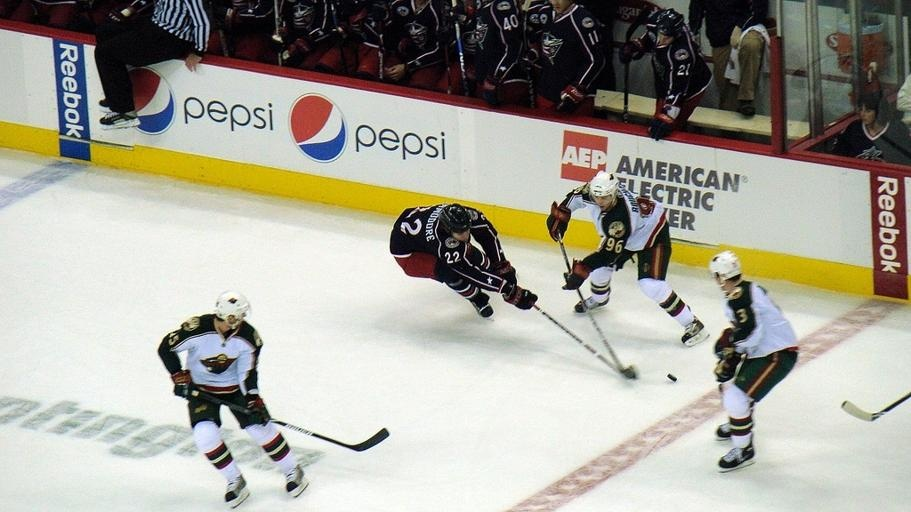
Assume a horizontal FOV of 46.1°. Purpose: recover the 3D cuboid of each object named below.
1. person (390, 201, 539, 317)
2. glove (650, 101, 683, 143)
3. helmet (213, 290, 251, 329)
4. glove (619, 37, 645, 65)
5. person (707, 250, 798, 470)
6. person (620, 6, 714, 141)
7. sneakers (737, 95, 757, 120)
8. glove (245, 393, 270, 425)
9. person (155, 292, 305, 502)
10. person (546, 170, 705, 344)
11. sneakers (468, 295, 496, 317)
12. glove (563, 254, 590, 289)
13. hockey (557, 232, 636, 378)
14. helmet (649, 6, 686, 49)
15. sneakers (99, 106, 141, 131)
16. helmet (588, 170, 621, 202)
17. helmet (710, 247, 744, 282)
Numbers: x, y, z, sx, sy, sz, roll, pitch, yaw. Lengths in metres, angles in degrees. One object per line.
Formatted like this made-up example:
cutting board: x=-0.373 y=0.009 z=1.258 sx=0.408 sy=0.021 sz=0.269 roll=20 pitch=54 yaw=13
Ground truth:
person: x=0.086 y=0.084 z=11.876 sx=1.127 sy=0.487 sz=0.942 roll=29 pitch=-14 yaw=16
glove: x=2.347 y=-1.545 z=12.095 sx=0.318 sy=0.439 sz=0.142 roll=20 pitch=-10 yaw=8
helmet: x=-2.098 y=0.467 z=10.015 sx=0.369 sy=0.311 sz=0.300 roll=-6 pitch=35 yaw=-12
glove: x=2.025 y=-2.425 z=12.538 sx=0.255 sy=0.305 sz=0.136 roll=31 pitch=15 yaw=-13
person: x=2.701 y=1.036 z=10.033 sx=0.869 sy=2.049 sz=0.512 roll=9 pitch=19 yaw=13
person: x=2.491 y=-2.156 z=12.498 sx=0.863 sy=0.964 sz=1.641 roll=-12 pitch=-18 yaw=5
sneakers: x=3.435 y=-1.762 z=12.668 sx=0.216 sy=0.209 sz=0.161 roll=9 pitch=19 yaw=16
glove: x=-1.873 y=1.452 z=10.075 sx=0.255 sy=0.257 sz=0.176 roll=19 pitch=23 yaw=38
person: x=-2.124 y=1.359 z=10.091 sx=1.383 sy=2.039 sz=0.530 roll=8 pitch=19 yaw=10
person: x=1.922 y=0.052 z=11.731 sx=0.944 sy=1.465 sz=1.279 roll=-37 pitch=53 yaw=-13
sneakers: x=0.272 y=0.567 z=11.885 sx=0.102 sy=0.190 sz=0.190 roll=-38 pitch=-3 yaw=-11
glove: x=1.271 y=0.208 z=11.377 sx=0.232 sy=0.383 sz=0.289 roll=1 pitch=18 yaw=-12
hockey: x=1.536 y=0.599 z=11.592 sx=0.276 sy=1.725 sz=0.217 roll=-33 pitch=-27 yaw=18
helmet: x=2.383 y=-2.580 z=12.031 sx=0.453 sy=0.406 sz=0.167 roll=7 pitch=19 yaw=9
sneakers: x=-4.351 y=-1.809 z=13.938 sx=0.593 sy=0.261 sz=0.191 roll=2 pitch=52 yaw=-4
helmet: x=1.559 y=-0.744 z=11.133 sx=0.263 sy=0.285 sz=0.321 roll=23 pitch=17 yaw=24
helmet: x=2.522 y=0.080 z=10.037 sx=0.274 sy=0.239 sz=0.261 roll=9 pitch=18 yaw=14
